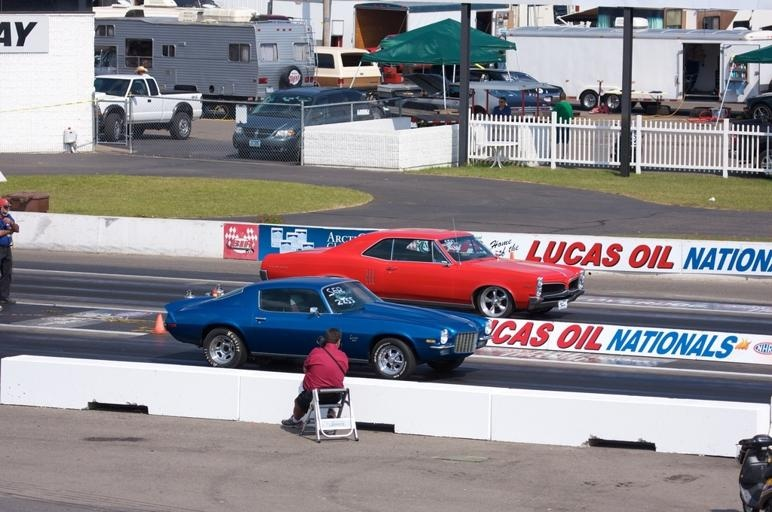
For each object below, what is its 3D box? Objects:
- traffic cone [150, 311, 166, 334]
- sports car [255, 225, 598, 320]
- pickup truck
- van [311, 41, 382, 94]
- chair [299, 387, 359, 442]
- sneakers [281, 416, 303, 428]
[{"bbox_3d":[-5.750,1.732,47.861,0.488,0.456,0.445,2,4,24],"label":"traffic cone"},{"bbox_3d":[1.171,0.572,48.533,8.041,2.191,1.572,2,6,15],"label":"sports car"},{"bbox_3d":[-9.295,-5.309,67.622,3.228,2.267,5.566,8,9,34],"label":"pickup truck"},{"bbox_3d":[-2.558,-7.900,81.010,2.532,1.825,4.281,-9,16,-44],"label":"van"},{"bbox_3d":[-1.263,3.604,43.062,1.286,1.149,0.620,-1,10,-4],"label":"chair"},{"bbox_3d":[-2.148,3.813,43.368,0.524,0.224,0.208,2,8,7],"label":"sneakers"}]
